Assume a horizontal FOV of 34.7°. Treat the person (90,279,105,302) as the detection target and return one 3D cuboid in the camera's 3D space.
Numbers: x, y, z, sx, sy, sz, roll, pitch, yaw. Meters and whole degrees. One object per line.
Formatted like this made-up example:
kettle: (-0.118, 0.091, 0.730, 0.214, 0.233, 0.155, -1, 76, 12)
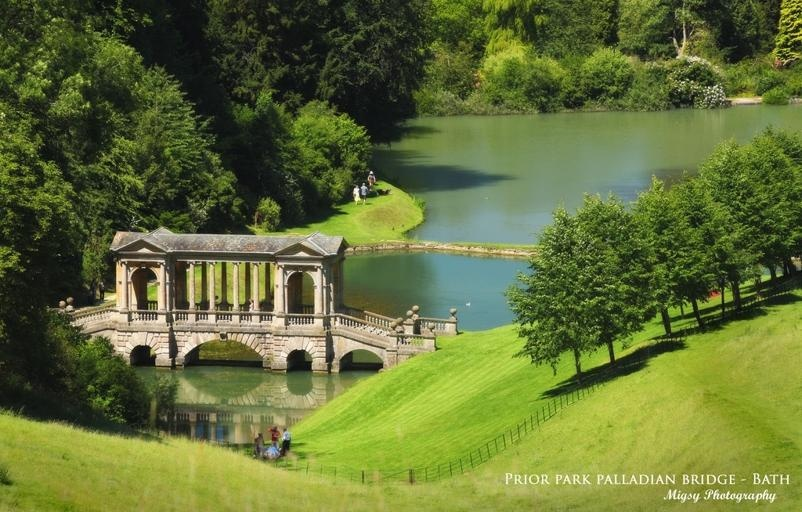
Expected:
person: (-28.142, 3.063, 119.068, 0.498, 1.809, 1.392, -5, 12, 9)
